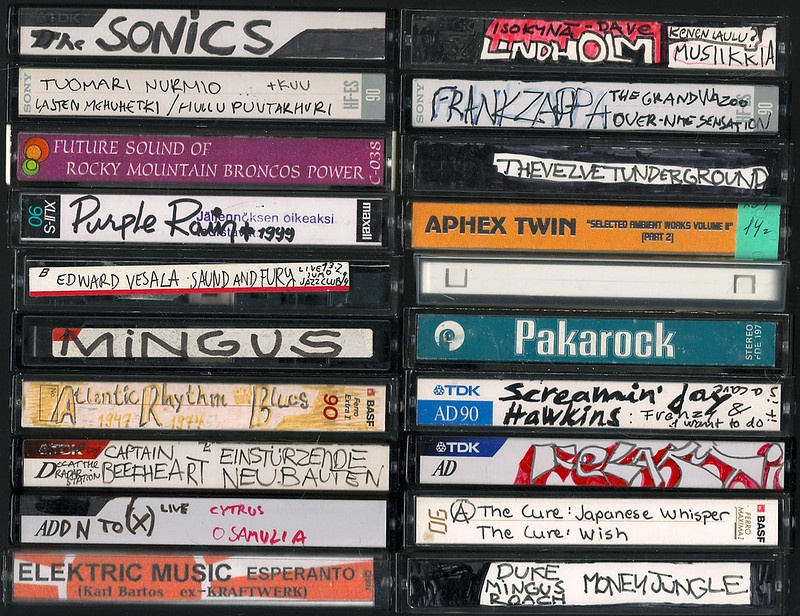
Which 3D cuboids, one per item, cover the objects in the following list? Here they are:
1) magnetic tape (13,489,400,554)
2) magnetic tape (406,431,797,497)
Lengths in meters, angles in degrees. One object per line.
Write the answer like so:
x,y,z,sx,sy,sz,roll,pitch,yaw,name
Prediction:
-0.743,0.789,7.704,1.384,0.204,0.090,-1,-4,3,magnetic tape
0.767,0.571,7.707,1.384,0.206,0.059,-1,-4,2,magnetic tape
